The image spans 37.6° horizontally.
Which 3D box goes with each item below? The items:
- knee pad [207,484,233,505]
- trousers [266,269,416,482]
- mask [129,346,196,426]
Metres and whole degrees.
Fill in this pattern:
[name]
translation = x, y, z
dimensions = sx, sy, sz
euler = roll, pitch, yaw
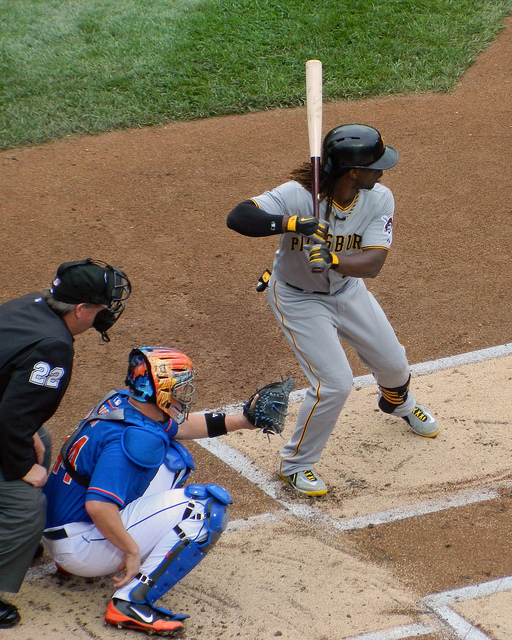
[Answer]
[knee pad]
translation = -0.162, 0.828, 3.500
dimensions = 0.039, 0.135, 0.105
euler = -54, 26, 7
[trousers]
translation = 0.372, 0.318, 4.503
dimensions = 1.102, 1.192, 0.976
euler = 13, 32, 0
[mask]
translation = -0.455, 0.301, 3.497
dimensions = 0.257, 0.332, 0.256
euler = 14, 90, 42
